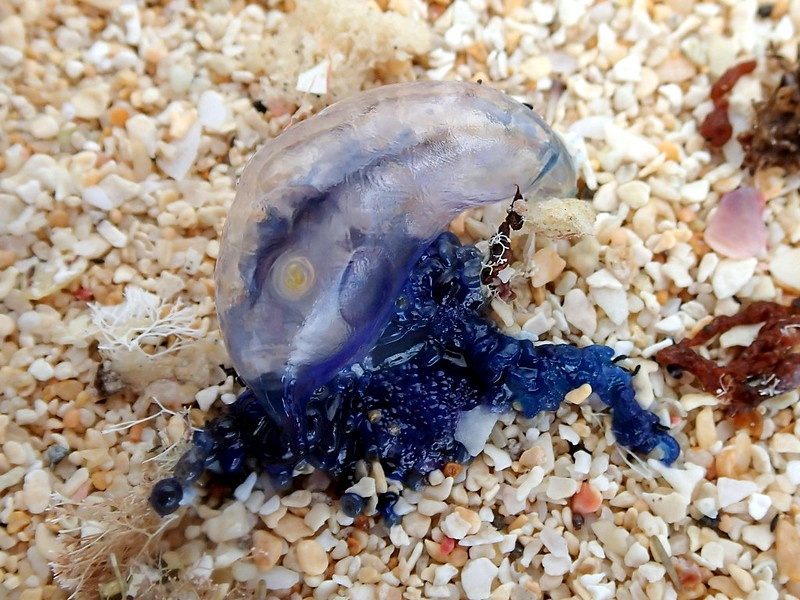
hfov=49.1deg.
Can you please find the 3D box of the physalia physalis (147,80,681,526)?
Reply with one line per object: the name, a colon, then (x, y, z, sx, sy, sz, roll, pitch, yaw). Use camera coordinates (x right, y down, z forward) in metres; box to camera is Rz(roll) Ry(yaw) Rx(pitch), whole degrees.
physalia physalis: (0.017, -0.027, 1.870, 1.031, 0.273, 0.832, -7, 82, -6)
